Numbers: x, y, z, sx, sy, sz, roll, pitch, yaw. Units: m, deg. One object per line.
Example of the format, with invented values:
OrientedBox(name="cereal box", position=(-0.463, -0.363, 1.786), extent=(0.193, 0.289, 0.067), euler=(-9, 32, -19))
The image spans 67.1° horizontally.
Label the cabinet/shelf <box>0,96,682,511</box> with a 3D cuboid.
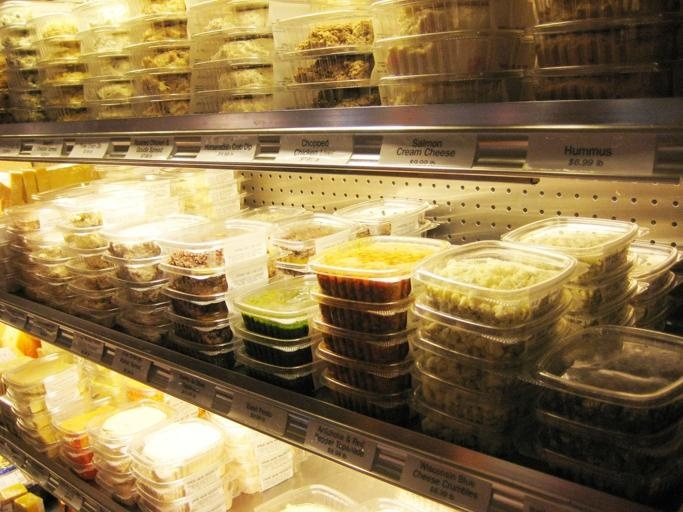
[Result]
OrientedBox(name="cabinet/shelf", position=(-0.163, -0.118, 1.904), extent=(2.500, 0.802, 0.984), euler=(12, 24, 42))
